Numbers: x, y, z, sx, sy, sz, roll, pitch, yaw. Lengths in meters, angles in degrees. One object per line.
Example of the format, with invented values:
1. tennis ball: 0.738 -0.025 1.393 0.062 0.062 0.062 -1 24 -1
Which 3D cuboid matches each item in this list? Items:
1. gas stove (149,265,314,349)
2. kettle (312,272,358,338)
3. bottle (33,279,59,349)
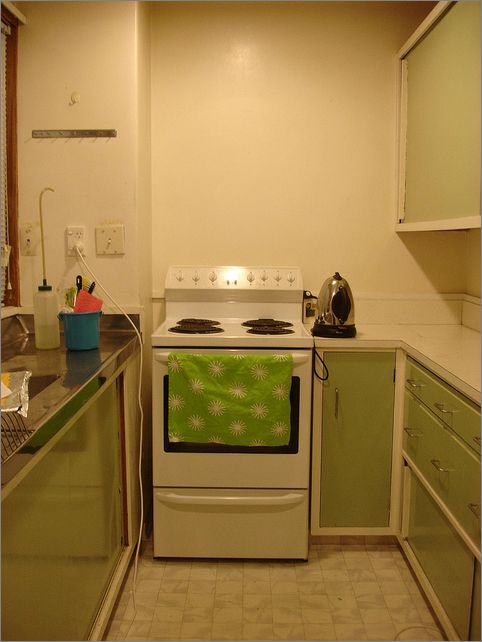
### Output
1. gas stove: -0.026 -0.074 2.025 0.611 0.284 0.536 0 7 -3
2. kettle: 0.327 -0.068 1.924 0.145 0.292 0.209 1 4 4
3. bottle: -0.624 -0.016 1.623 0.070 0.212 0.161 -2 6 -23
